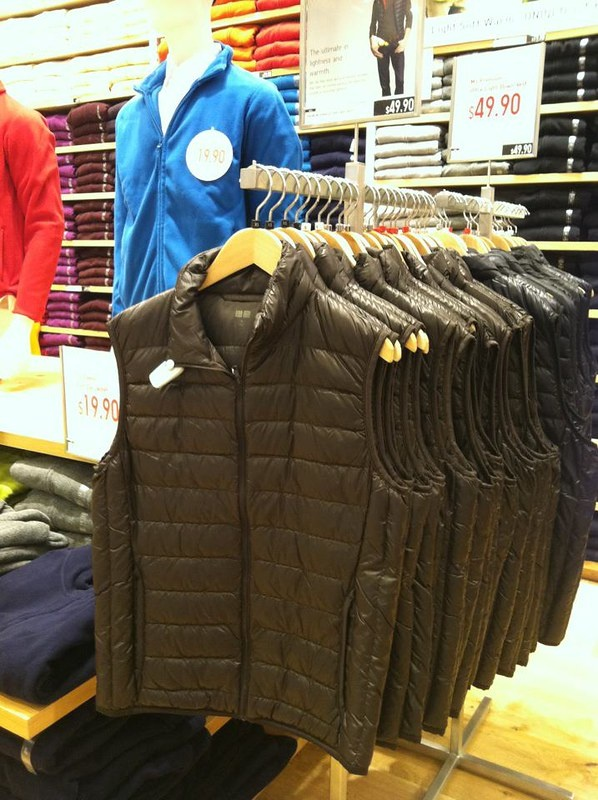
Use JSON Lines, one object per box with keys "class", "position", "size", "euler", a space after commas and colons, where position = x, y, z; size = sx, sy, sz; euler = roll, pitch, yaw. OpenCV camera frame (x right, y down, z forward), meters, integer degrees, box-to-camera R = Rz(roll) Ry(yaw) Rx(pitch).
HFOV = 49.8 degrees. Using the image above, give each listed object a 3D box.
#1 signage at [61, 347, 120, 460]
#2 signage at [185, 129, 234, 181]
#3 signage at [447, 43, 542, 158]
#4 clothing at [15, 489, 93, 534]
{"class": "signage", "position": [-0.450, 0.004, 1.389], "size": [0.202, 0.249, 0.025], "euler": [11, 13, 39]}
{"class": "signage", "position": [-0.210, -0.582, 1.538], "size": [0.106, 0.131, 0.016], "euler": [5, 7, 17]}
{"class": "signage", "position": [0.686, -1.029, 2.257], "size": [0.299, 0.399, 0.046], "euler": [5, -2, 26]}
{"class": "clothing", "position": [-0.579, 0.268, 1.553], "size": [0.122, 0.057, 0.153], "euler": [-2, 7, -44]}
